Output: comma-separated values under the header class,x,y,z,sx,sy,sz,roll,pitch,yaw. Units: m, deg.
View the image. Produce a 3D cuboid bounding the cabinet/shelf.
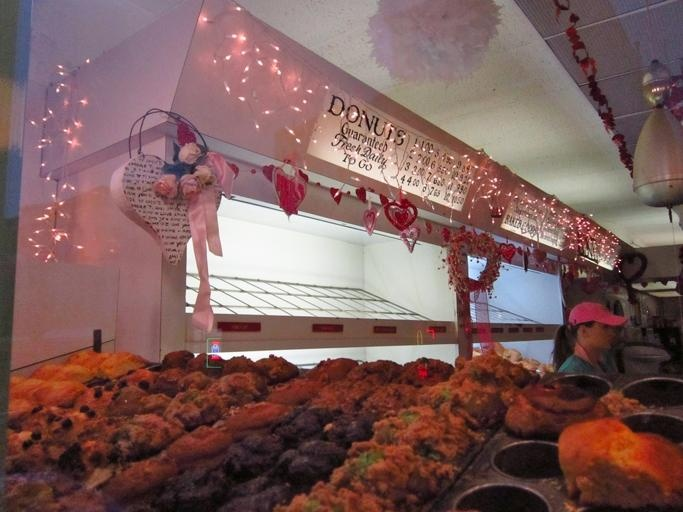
class,x,y,z,sx,sy,sz,roll,pitch,yaw
cabinet/shelf,-0.188,0.083,1.439,1.584,0.686,0.592,-2,-10,-16
